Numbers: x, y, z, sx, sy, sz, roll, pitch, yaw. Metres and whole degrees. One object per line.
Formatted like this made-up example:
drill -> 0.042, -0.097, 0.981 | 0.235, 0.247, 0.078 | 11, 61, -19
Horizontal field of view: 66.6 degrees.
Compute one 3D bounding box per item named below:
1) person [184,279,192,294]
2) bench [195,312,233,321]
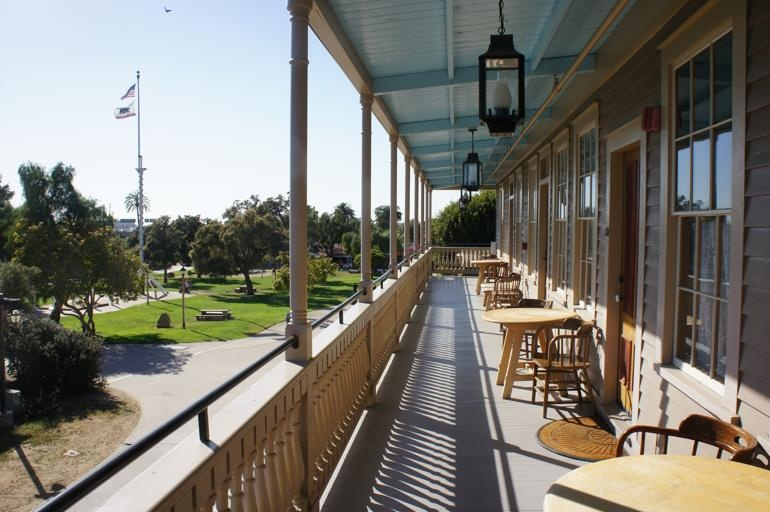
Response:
person -> -17.320, 2.681, 51.125 | 0.446, 0.876, 1.707 | -3, 1, -24
bench -> -10.478, 3.622, 35.533 | 1.986, 0.362, 0.971 | -2, 0, 18
